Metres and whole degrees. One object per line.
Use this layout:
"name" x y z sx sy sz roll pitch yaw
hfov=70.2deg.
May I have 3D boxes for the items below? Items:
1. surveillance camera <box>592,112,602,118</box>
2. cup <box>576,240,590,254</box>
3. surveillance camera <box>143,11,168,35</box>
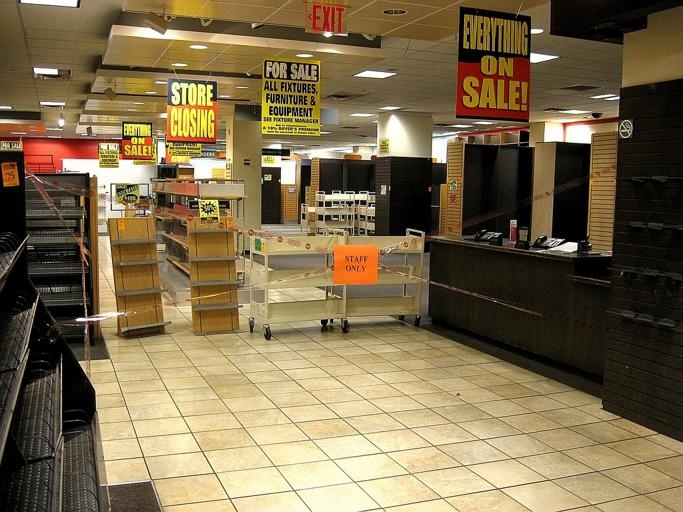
"surveillance camera" 8.816 -4.931 16.777 0.286 0.059 0.281 0 0 25
"cup" 2.958 -0.120 5.928 0.222 0.150 0.161 1 2 7
"surveillance camera" -2.535 -3.248 6.685 0.269 0.280 0.319 -1 9 -10
